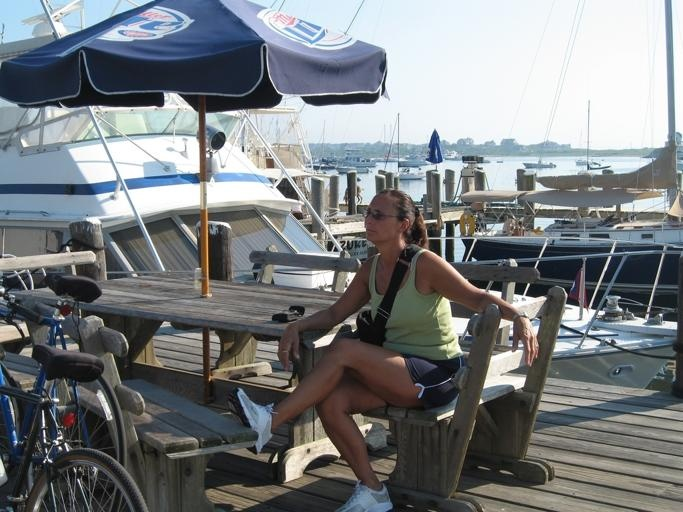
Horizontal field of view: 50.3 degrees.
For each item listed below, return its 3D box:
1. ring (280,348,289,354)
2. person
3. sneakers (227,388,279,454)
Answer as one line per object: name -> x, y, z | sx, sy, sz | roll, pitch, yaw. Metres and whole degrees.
ring -> -0.331, 0.550, 4.312 | 0.034, 0.040, 0.068 | -2, 3, 3
person -> 0.153, 0.553, 4.279 | 1.269, 1.812, 0.716 | -4, 13, -18
sneakers -> -0.473, 0.925, 4.034 | 0.214, 0.424, 0.231 | 9, 15, 37
